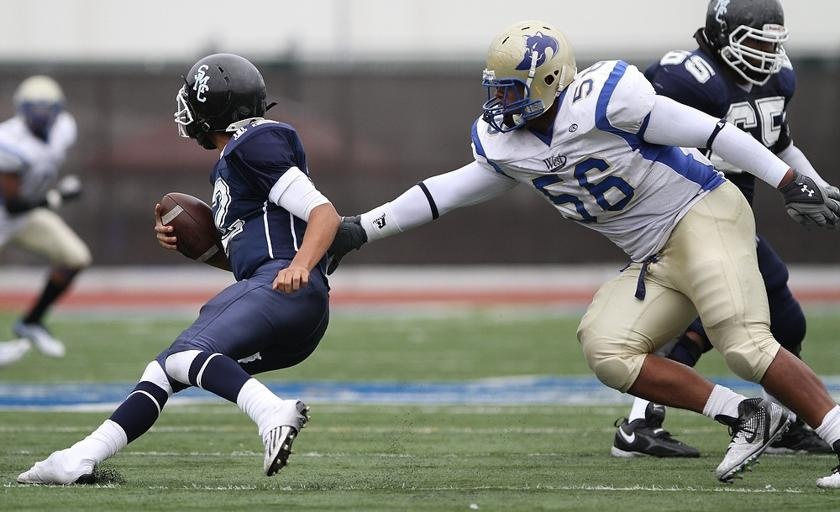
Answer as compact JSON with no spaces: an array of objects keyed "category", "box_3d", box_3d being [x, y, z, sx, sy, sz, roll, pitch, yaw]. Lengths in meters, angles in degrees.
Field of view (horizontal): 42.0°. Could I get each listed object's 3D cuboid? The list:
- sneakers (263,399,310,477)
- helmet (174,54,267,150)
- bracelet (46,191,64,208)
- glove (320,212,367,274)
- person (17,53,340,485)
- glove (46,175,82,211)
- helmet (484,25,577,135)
[{"category":"sneakers","box_3d":[-0.663,0.904,5.503,0.233,0.376,0.126,-3,9,-19]},{"category":"helmet","box_3d":[-1.058,-0.853,5.827,0.532,0.504,0.415,5,9,18]},{"category":"bracelet","box_3d":[-2.729,-0.425,8.225,0.102,0.120,0.129,1,52,-25]},{"category":"glove","box_3d":[-0.406,-0.078,6.076,0.295,0.282,0.096,-2,-16,21]},{"category":"person","box_3d":[-1.048,0.034,5.716,1.272,2.166,0.834,0,8,1]},{"category":"glove","box_3d":[-2.646,-0.494,8.291,0.304,0.134,0.148,-37,59,-11]},{"category":"helmet","box_3d":[0.491,-0.988,5.922,0.599,0.494,0.460,-10,25,3]}]
